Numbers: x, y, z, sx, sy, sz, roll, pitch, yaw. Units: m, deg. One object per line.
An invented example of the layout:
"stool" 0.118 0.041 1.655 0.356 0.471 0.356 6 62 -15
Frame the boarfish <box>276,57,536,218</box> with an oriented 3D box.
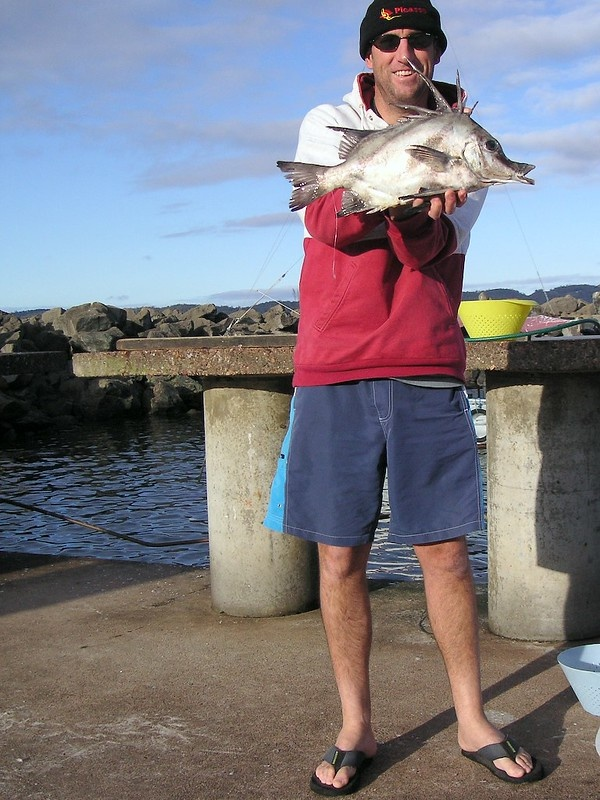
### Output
"boarfish" 0.289 -0.696 2.447 0.717 0.371 0.200 -5 2 24
